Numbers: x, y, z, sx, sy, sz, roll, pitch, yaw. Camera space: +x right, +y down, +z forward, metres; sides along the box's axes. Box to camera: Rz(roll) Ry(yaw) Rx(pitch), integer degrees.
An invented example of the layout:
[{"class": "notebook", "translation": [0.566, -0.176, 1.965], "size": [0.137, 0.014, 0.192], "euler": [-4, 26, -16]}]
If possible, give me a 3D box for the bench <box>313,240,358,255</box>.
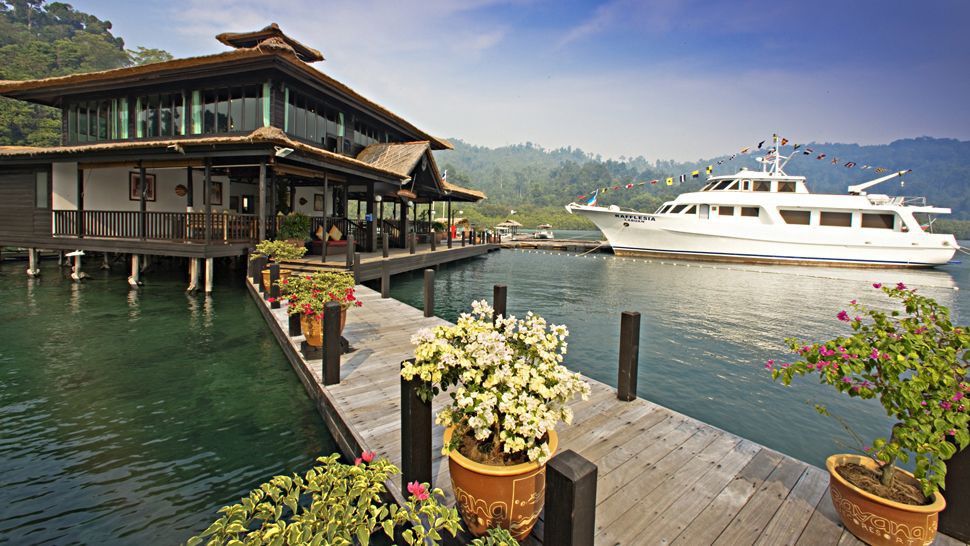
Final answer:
[{"class": "bench", "translation": [-7.085, -1.154, 24.324], "size": [2.118, 0.644, 1.689], "euler": [-5, 5, -41]}]
